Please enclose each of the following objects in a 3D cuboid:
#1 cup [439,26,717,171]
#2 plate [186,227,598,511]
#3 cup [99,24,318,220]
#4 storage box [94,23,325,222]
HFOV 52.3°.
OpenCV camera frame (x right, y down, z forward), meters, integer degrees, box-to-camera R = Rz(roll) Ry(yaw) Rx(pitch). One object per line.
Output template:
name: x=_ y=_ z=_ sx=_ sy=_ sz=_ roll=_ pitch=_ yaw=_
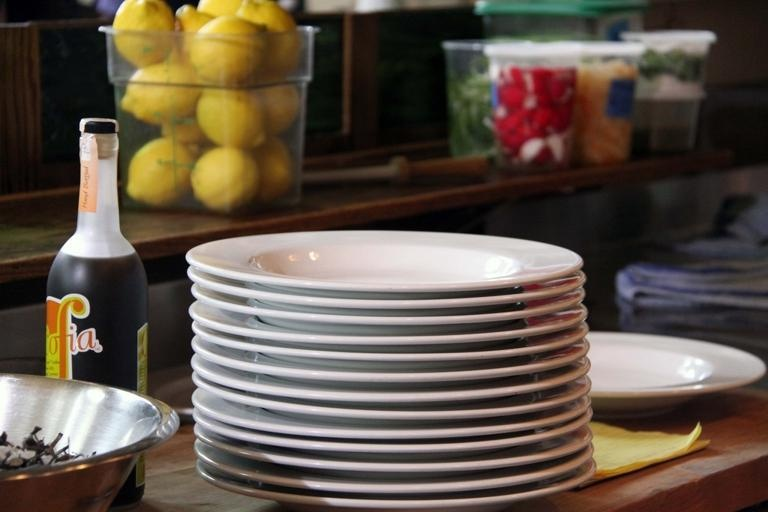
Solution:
cup: x=0.427 y=-0.336 z=1.672 sx=0.571 sy=0.183 sz=0.318 roll=-2 pitch=7 yaw=-20
plate: x=0.000 y=0.098 z=0.782 sx=0.384 sy=0.224 sz=0.301 roll=-4 pitch=15 yaw=-12
cup: x=-0.234 y=-0.190 z=1.175 sx=0.331 sy=0.196 sz=0.305 roll=0 pitch=7 yaw=0
storage box: x=-0.243 y=-0.194 z=1.195 sx=0.348 sy=0.199 sz=0.300 roll=3 pitch=8 yaw=26
